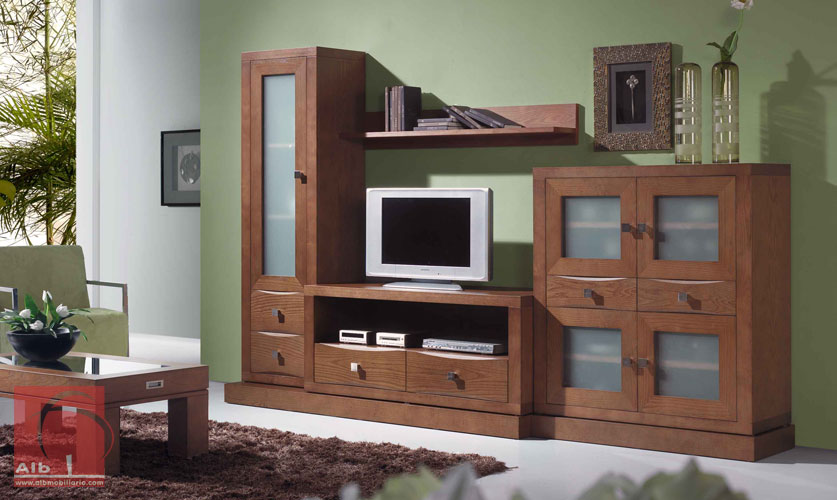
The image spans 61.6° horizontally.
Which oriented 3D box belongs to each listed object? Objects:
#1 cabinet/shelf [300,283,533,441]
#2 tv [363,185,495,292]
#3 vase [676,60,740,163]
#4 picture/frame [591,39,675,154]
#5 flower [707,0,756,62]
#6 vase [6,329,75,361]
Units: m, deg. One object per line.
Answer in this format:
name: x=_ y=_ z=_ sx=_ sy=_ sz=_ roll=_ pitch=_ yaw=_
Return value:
cabinet/shelf: x=0.100 y=0.702 z=5.077 sx=1.908 sy=0.788 sz=0.726 roll=-2 pitch=2 yaw=37
tv: x=0.103 y=-0.085 z=4.987 sx=0.937 sy=0.566 sz=0.263 roll=1 pitch=0 yaw=23
vase: x=1.839 y=-0.867 z=4.462 sx=0.408 sy=0.644 sz=0.393 roll=4 pitch=7 yaw=22
picture/frame: x=1.444 y=-1.032 z=4.756 sx=0.521 sy=0.686 sz=0.080 roll=4 pitch=8 yaw=20
flower: x=1.983 y=-1.388 z=4.461 sx=0.257 sy=0.417 sz=0.233 roll=4 pitch=7 yaw=21
vase: x=-2.248 y=0.537 z=4.223 sx=0.263 sy=0.092 sz=0.262 roll=-1 pitch=-2 yaw=41
